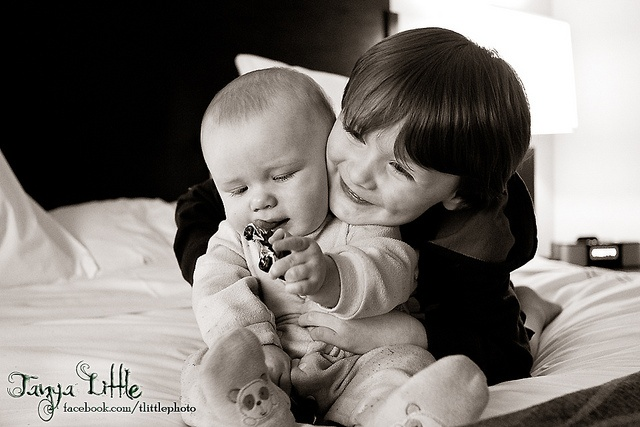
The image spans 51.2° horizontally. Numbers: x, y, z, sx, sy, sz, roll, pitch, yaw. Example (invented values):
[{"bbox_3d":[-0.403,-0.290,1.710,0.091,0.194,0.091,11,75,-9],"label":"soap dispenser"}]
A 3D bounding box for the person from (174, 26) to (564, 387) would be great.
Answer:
[{"bbox_3d":[0.197,0.088,1.659,0.386,0.977,0.616,17,7,-21],"label":"person"}]

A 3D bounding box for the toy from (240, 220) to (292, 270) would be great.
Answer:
[{"bbox_3d":[-0.110,0.067,1.395,0.034,0.104,0.104,-13,-20,17],"label":"toy"}]

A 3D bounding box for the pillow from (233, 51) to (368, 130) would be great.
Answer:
[{"bbox_3d":[-0.089,-0.551,2.606,0.496,0.103,0.344,24,21,23],"label":"pillow"}]
